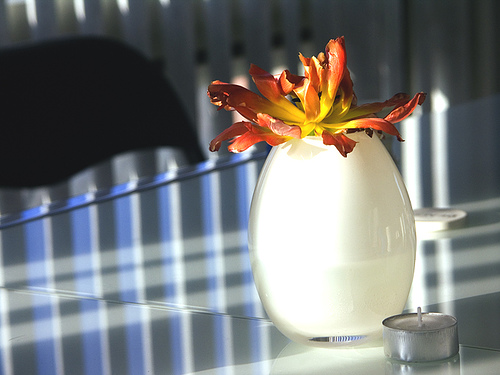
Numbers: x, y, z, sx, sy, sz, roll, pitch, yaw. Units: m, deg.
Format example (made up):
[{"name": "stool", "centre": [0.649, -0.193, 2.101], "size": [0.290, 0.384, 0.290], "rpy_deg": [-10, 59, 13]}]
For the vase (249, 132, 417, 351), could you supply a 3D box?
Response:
[{"name": "vase", "centre": [0.167, 0.102, 1.775], "size": [0.285, 0.385, 0.295], "rpy_deg": [-3, 10, -8]}]

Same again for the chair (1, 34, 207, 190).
[{"name": "chair", "centre": [-0.474, -0.203, 2.751], "size": [0.381, 0.428, 0.575], "rpy_deg": [-10, 11, -38]}]

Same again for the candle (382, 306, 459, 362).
[{"name": "candle", "centre": [0.299, 0.258, 1.689], "size": [0.127, 0.078, 0.132], "rpy_deg": [2, 8, 32]}]

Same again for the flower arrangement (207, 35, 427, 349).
[{"name": "flower arrangement", "centre": [0.143, 0.011, 1.750], "size": [0.385, 0.538, 0.347], "rpy_deg": [-11, 12, -27]}]
